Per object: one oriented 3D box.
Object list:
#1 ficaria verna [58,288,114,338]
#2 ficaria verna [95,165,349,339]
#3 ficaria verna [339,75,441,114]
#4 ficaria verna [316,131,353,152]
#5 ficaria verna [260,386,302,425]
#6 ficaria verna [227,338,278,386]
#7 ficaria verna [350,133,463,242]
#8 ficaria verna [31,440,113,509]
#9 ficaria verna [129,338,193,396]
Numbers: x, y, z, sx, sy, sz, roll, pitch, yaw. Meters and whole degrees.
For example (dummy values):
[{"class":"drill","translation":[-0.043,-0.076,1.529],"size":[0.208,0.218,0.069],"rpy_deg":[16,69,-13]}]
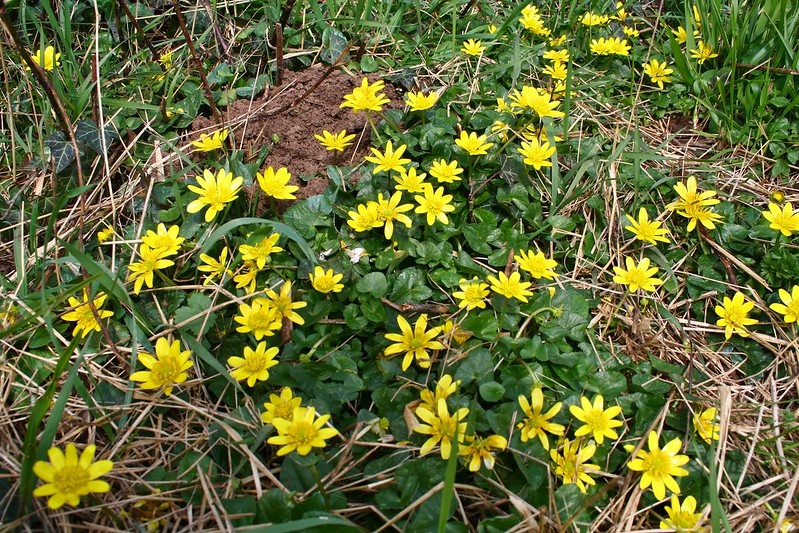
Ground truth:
[{"class":"ficaria verna","translation":[-1.436,0.215,2.848],"size":[0.232,0.068,0.235],"rpy_deg":[-33,81,2]},{"class":"ficaria verna","translation":[-0.875,-0.146,2.951],"size":[0.875,0.233,0.884],"rpy_deg":[-29,90,-11]},{"class":"ficaria verna","translation":[-0.059,-0.850,3.224],"size":[0.421,0.114,0.269],"rpy_deg":[5,51,12]},{"class":"ficaria verna","translation":[-0.333,-0.658,3.251],"size":[0.152,0.065,0.151],"rpy_deg":[11,45,6]},{"class":"ficaria verna","translation":[-0.504,0.585,2.694],"size":[0.187,0.191,0.067],"rpy_deg":[-22,88,-27]},{"class":"ficaria verna","translation":[-0.658,0.452,2.758],"size":[0.222,0.257,0.236],"rpy_deg":[3,47,-13]},{"class":"ficaria verna","translation":[0.036,-0.345,3.084],"size":[0.497,0.336,0.487],"rpy_deg":[19,45,2]},{"class":"ficaria verna","translation":[-1.241,0.790,2.308],"size":[0.296,0.096,0.297],"rpy_deg":[-3,32,-18]},{"class":"ficaria verna","translation":[-1.020,0.446,2.657],"size":[0.244,0.084,0.262],"rpy_deg":[-8,16,-3]}]
